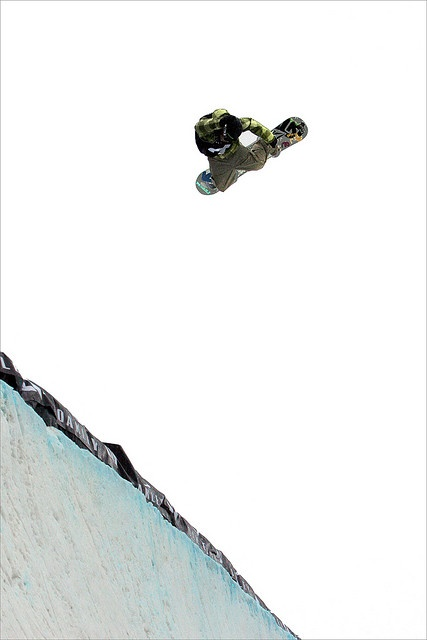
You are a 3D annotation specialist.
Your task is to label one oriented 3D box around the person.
[{"bbox_3d":[0.177,-1.481,8.711,0.603,1.072,0.711,-22,-73,10],"label":"person"}]
